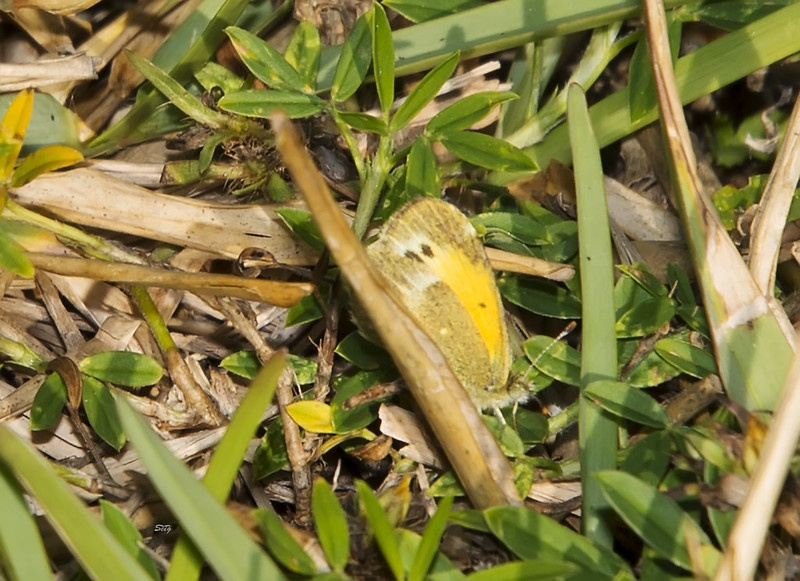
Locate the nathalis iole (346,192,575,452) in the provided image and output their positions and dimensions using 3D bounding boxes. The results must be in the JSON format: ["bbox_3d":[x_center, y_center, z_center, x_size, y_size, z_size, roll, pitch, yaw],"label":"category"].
[{"bbox_3d":[0.089,0.053,1.277,0.231,0.312,0.322,-33,84,13],"label":"nathalis iole"}]
